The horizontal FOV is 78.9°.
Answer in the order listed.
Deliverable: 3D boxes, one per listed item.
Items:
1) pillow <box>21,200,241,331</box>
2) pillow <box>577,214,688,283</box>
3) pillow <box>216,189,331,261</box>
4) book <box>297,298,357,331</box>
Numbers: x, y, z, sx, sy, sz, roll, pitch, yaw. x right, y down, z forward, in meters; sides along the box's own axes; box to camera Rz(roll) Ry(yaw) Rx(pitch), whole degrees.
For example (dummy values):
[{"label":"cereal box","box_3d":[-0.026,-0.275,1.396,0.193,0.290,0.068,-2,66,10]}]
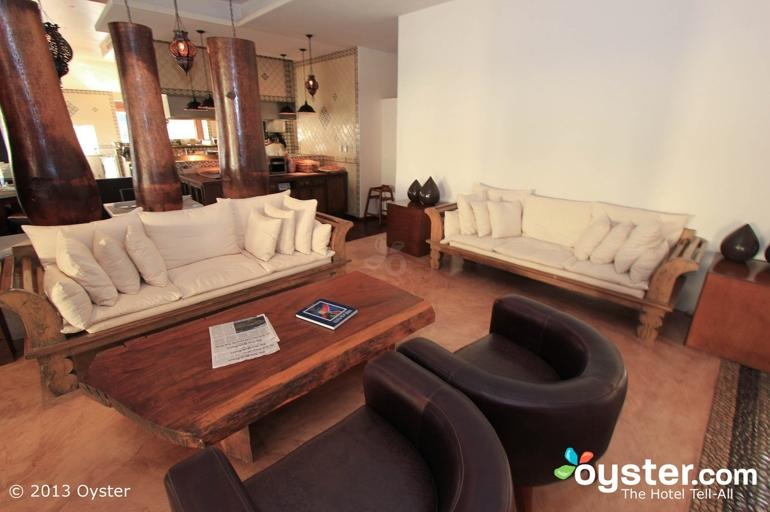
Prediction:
[{"label":"pillow","box_3d":[-2.328,0.118,4.238,0.427,0.456,1.203,28,33,34]},{"label":"pillow","box_3d":[2.382,-0.089,4.754,0.849,0.556,0.589,17,28,39]},{"label":"pillow","box_3d":[-1.035,-0.333,5.426,0.833,0.816,0.240,-17,-3,-3]},{"label":"book","box_3d":[-0.476,0.471,3.859,0.265,0.039,0.291,13,26,25]}]
